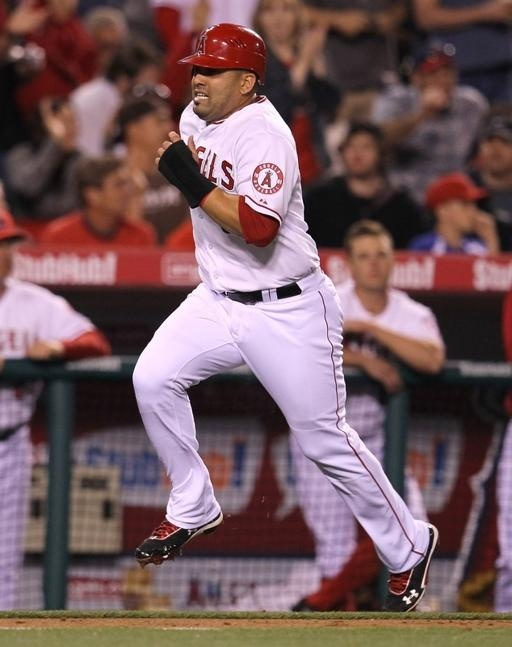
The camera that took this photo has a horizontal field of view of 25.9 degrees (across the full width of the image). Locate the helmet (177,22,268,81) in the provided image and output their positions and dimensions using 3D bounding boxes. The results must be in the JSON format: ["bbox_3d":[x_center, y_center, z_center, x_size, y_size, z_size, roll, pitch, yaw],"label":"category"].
[{"bbox_3d":[-0.099,-0.849,3.520,0.257,0.184,0.214,-1,36,0],"label":"helmet"}]

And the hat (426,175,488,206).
[{"bbox_3d":[0.981,-0.652,5.478,0.243,0.109,0.154,-10,9,17],"label":"hat"}]

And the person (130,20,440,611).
[{"bbox_3d":[0.037,0.104,3.651,0.895,1.949,1.232,-12,39,-11],"label":"person"}]

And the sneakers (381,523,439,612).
[{"bbox_3d":[0.503,0.844,3.744,0.159,0.323,0.124,11,4,-31],"label":"sneakers"}]
